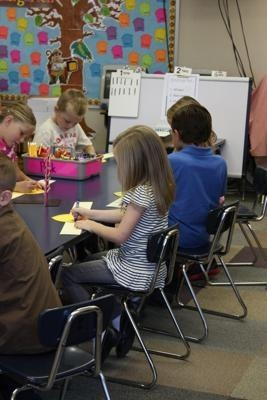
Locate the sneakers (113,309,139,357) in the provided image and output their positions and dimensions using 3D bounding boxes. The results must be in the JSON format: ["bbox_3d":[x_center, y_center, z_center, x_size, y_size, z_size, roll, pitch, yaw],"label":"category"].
[{"bbox_3d":[-0.006,0.646,1.599,0.079,0.217,0.150,-2,-10,-31],"label":"sneakers"}]

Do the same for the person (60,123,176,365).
[{"bbox_3d":[-0.081,0.226,1.486,0.419,1.134,0.471,4,4,45],"label":"person"}]
